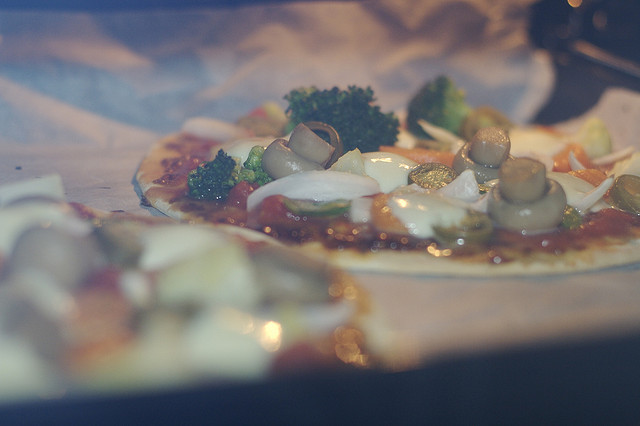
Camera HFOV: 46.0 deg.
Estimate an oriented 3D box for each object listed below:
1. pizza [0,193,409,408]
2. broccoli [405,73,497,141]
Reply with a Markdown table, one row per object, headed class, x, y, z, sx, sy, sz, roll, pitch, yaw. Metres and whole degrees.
| class | x | y | z | sx | sy | sz | roll | pitch | yaw |
| --- | --- | --- | --- | --- | --- | --- | --- | --- | --- |
| pizza | -0.767 | 0.496 | 3.592 | 1.470 | 0.156 | 0.894 | 9 | 48 | 6 |
| broccoli | 0.812 | -0.645 | 4.840 | 0.524 | 0.474 | 0.315 | -8 | 20 | -10 |
